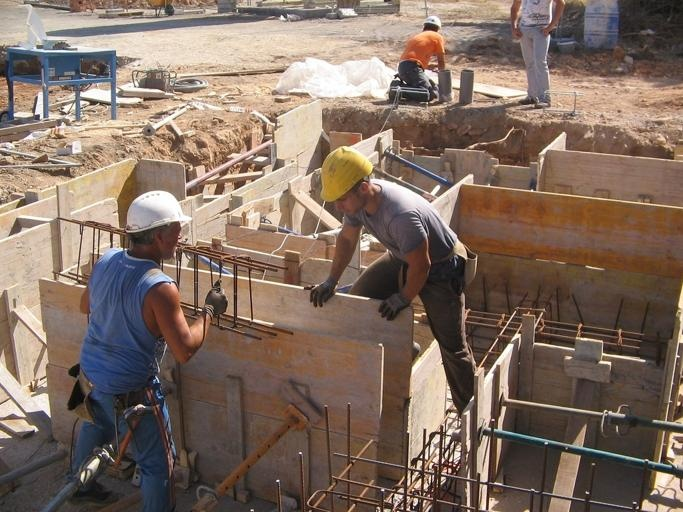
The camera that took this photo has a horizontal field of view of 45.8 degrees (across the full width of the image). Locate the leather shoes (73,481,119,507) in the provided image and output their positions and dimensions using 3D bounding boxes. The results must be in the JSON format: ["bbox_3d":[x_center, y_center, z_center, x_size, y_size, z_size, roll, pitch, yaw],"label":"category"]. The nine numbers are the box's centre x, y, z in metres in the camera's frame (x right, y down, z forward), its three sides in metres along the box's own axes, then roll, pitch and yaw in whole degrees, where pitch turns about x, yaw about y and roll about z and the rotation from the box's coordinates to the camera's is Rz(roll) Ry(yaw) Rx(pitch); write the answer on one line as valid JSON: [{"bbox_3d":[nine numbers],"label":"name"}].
[{"bbox_3d":[-2.040,1.973,6.759,0.368,0.176,0.176,-3,17,-11],"label":"leather shoes"}]

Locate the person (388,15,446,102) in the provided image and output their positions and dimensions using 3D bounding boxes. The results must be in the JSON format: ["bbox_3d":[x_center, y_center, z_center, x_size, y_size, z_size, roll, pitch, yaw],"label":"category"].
[{"bbox_3d":[1.396,-3.491,14.229,0.791,1.410,1.006,1,14,4],"label":"person"}]

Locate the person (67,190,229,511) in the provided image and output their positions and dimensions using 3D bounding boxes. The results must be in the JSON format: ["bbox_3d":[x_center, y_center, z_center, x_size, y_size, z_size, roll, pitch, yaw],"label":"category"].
[{"bbox_3d":[-1.538,0.731,6.174,1.058,2.410,0.502,3,14,12],"label":"person"}]

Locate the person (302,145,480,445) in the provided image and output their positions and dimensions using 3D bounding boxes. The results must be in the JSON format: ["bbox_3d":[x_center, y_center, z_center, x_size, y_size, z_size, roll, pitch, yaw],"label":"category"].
[{"bbox_3d":[0.492,0.270,6.840,1.317,2.365,0.983,3,14,10],"label":"person"}]

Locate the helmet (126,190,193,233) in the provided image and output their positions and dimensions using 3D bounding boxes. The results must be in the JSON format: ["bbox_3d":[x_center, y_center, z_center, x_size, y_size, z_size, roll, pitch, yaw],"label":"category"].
[{"bbox_3d":[-1.400,-0.290,6.061,0.389,0.221,0.302,-22,19,-17],"label":"helmet"}]

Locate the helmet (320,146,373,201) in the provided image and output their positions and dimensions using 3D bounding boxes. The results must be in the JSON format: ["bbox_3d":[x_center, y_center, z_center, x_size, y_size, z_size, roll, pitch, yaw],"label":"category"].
[{"bbox_3d":[0.039,-0.662,6.559,0.398,0.428,0.233,0,13,-2],"label":"helmet"}]

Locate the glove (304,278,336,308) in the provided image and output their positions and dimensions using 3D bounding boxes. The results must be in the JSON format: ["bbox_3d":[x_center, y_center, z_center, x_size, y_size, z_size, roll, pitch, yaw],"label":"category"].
[{"bbox_3d":[-0.164,0.290,6.557,0.211,0.081,0.217,-23,41,-15],"label":"glove"}]
